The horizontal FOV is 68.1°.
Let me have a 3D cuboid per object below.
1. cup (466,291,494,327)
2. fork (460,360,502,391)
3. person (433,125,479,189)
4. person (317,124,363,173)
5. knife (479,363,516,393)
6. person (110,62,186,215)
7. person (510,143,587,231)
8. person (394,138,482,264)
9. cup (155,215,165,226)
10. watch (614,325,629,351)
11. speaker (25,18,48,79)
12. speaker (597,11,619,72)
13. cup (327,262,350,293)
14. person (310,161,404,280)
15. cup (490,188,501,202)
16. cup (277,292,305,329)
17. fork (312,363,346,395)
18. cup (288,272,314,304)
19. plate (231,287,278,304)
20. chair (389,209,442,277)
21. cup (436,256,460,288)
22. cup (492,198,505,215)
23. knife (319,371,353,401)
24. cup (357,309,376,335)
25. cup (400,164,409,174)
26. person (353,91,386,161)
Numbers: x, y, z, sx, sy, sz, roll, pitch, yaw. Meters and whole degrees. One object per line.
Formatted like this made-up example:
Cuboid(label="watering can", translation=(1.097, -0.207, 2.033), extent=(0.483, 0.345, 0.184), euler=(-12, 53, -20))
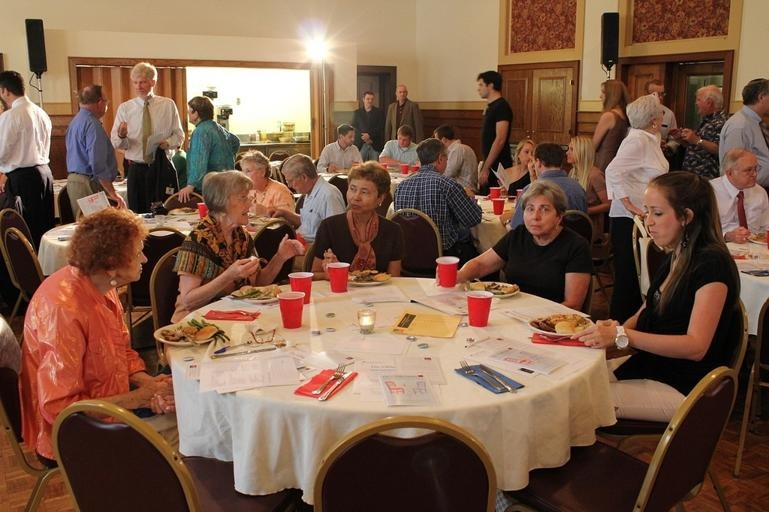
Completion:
Cuboid(label="cup", translation=(0.445, 0.252, 2.740), extent=(0.145, 0.148, 0.149), euler=(1, 10, 0))
Cuboid(label="fork", translation=(0.381, 0.467, 2.245), extent=(0.057, 0.027, 0.180), euler=(-9, 15, -19))
Cuboid(label="person", translation=(0.840, -1.017, 7.038), extent=(0.582, 1.145, 0.512), euler=(-2, 20, 6))
Cuboid(label="person", translation=(-0.624, -1.490, 8.226), extent=(0.694, 0.763, 0.482), euler=(1, 16, -17))
Cuboid(label="knife", translation=(0.446, 0.482, 2.239), extent=(0.038, 0.013, 0.266), euler=(-13, 12, -9))
Cuboid(label="person", translation=(-2.719, -1.044, 6.518), extent=(0.726, 2.043, 0.643), euler=(0, 29, -19))
Cuboid(label="person", translation=(1.387, -0.536, 4.789), extent=(0.686, 0.766, 0.558), euler=(-3, 10, 0))
Cuboid(label="person", translation=(0.492, -0.343, 5.111), extent=(0.719, 1.356, 0.748), euler=(10, 18, 35))
Cuboid(label="cup", translation=(-1.885, -0.298, 4.775), extent=(0.095, 0.079, 0.097), euler=(1, -3, 0))
Cuboid(label="watch", translation=(1.040, 0.366, 2.498), extent=(0.065, 0.110, 0.103), euler=(0, 1, -7))
Cuboid(label="speaker", translation=(-5.088, -3.025, 8.315), extent=(0.264, 0.801, 0.245), euler=(-10, 16, -30))
Cuboid(label="speaker", translation=(3.285, -3.114, 8.287), extent=(0.266, 0.797, 0.381), euler=(3, 14, 19))
Cuboid(label="cup", translation=(-0.247, 0.122, 3.127), extent=(0.141, 0.146, 0.145), euler=(-1, 2, 0))
Cuboid(label="person", translation=(-0.140, -0.190, 3.671), extent=(0.726, 0.923, 0.630), euler=(1, 3, -3))
Cuboid(label="cup", translation=(1.077, -0.610, 5.610), extent=(0.166, 0.134, 0.167), euler=(0, 5, 0))
Cuboid(label="cup", translation=(-0.428, 0.245, 2.659), extent=(0.148, 0.150, 0.147), euler=(-2, 6, 0))
Cuboid(label="fork", translation=(-0.203, 0.480, 2.227), extent=(0.037, 0.041, 0.279), euler=(4, 25, 20))
Cuboid(label="cup", translation=(-0.414, 0.166, 2.912), extent=(0.138, 0.149, 0.145), euler=(0, 2, 0))
Cuboid(label="plate", translation=(-0.672, 0.199, 2.974), extent=(0.149, 0.027, 0.120), euler=(7, 18, 33))
Cuboid(label="chair", translation=(0.224, -0.084, 4.250), extent=(0.340, 0.624, 0.376), euler=(4, 34, 9))
Cuboid(label="cup", translation=(0.342, 0.093, 3.129), extent=(0.147, 0.153, 0.149), euler=(1, 0, 0))
Cuboid(label="cup", translation=(1.021, -0.442, 5.101), extent=(0.126, 0.134, 0.128), euler=(-1, 11, 0))
Cuboid(label="knife", translation=(-0.174, 0.497, 2.199), extent=(0.040, 0.039, 0.350), euler=(12, 12, 12))
Cuboid(label="cup", translation=(-0.083, 0.301, 2.610), extent=(0.091, 0.105, 0.094), euler=(0, 3, 0))
Cuboid(label="cup", translation=(0.265, -1.145, 7.542), extent=(0.138, 0.145, 0.139), euler=(0, 8, 0))
Cuboid(label="person", translation=(-0.328, -2.240, 10.677), extent=(0.535, 1.529, 0.447), euler=(6, 34, 7))
